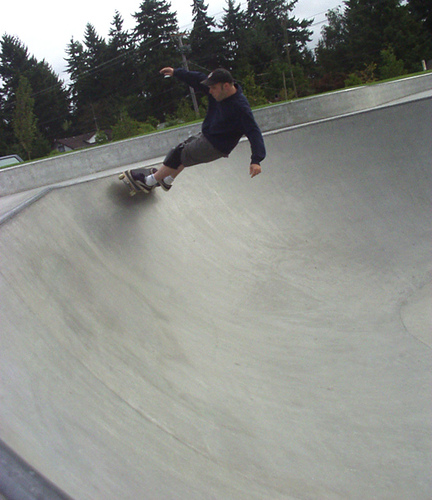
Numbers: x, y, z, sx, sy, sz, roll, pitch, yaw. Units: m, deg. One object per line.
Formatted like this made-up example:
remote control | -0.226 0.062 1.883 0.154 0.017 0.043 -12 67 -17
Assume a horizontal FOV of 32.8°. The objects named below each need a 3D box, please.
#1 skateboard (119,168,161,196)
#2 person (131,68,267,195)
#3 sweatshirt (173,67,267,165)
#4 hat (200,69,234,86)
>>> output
skateboard | -0.909 -0.798 8.386 0.466 0.287 0.156 15 21 15
person | -0.129 -1.309 7.684 1.537 1.270 0.516 -3 18 42
sweatshirt | 0.078 -1.388 7.514 0.530 1.086 1.010 -19 13 -16
hat | 0.025 -1.699 7.256 0.274 0.135 0.167 4 26 -7
